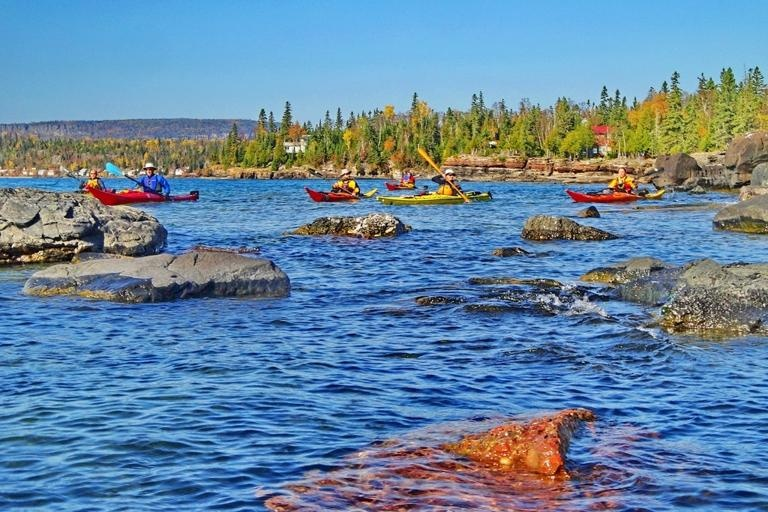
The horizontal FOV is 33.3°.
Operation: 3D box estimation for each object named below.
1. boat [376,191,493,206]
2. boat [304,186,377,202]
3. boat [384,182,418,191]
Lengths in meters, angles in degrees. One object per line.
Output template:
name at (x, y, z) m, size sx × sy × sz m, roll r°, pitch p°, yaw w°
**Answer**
boat at (2.158, -2.386, 53.898) m, size 5.133 × 0.593 × 1.065 m, roll -5°, pitch 19°, yaw -25°
boat at (-1.610, -2.471, 55.697) m, size 1.080 × 0.619 × 4.156 m, roll 17°, pitch 13°, yaw 40°
boat at (1.100, -3.654, 69.504) m, size 0.626 × 0.440 × 2.945 m, roll 9°, pitch 8°, yaw 24°
